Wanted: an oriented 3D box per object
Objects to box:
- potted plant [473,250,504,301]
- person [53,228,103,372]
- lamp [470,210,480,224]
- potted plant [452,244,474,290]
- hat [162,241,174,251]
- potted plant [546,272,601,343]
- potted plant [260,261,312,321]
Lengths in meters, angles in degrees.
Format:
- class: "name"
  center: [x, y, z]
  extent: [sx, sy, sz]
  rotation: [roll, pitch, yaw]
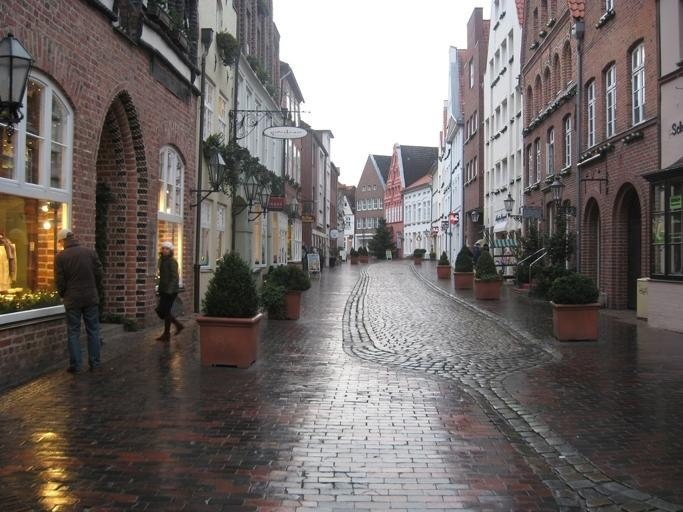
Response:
- class: "potted plant"
  center: [5.431, 0.821, 22.254]
  extent: [1.187, 2.407, 1.358]
  rotation: [0, -3, -1]
- class: "person"
  center: [-3.971, 0.670, 9.111]
  extent: [0.672, 2.059, 0.659]
  rotation: [-1, 2, -29]
- class: "lamp"
  center: [9.768, -2.853, 44.225]
  extent: [0.783, 1.089, 0.761]
  rotation: [3, 5, 19]
- class: "potted plant"
  center: [5.364, 0.488, 26.324]
  extent: [0.803, 1.827, 1.298]
  rotation: [1, 2, 12]
- class: "hat"
  center: [-3.702, -0.208, 12.803]
  extent: [0.186, 0.169, 0.259]
  rotation: [5, -11, -9]
- class: "potted plant"
  center: [4.727, 0.989, 12.732]
  extent: [1.148, 1.849, 1.100]
  rotation: [0, 2, 28]
- class: "potted plant"
  center: [-1.546, 0.939, 15.841]
  extent: [1.287, 1.382, 0.925]
  rotation: [-1, 2, -27]
